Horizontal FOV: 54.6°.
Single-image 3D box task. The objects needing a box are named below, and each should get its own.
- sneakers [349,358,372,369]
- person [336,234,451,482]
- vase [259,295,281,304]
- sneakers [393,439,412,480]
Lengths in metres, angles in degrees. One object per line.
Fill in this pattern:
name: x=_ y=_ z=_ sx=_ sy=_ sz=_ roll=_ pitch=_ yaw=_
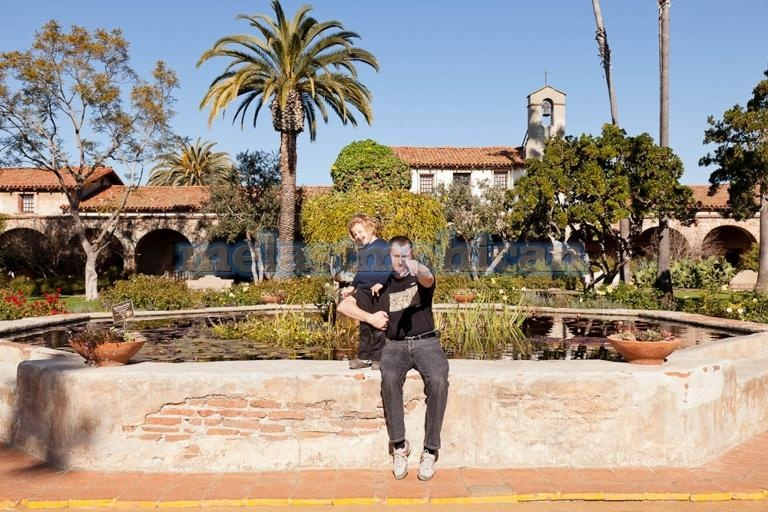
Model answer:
sneakers: x=-0.365 y=1.533 z=10.616 sx=0.335 sy=0.141 sz=0.122 roll=6 pitch=-2 yaw=-23
person: x=0.216 y=1.406 z=10.526 sx=1.341 sy=3.314 sz=0.754 roll=0 pitch=0 yaw=6
vase: x=-3.472 y=1.311 z=22.485 sx=0.668 sy=0.266 sz=0.466 roll=0 pitch=-1 yaw=13
sneakers: x=0.241 y=2.806 z=10.253 sx=0.199 sy=0.515 sz=0.235 roll=-4 pitch=-28 yaw=23
